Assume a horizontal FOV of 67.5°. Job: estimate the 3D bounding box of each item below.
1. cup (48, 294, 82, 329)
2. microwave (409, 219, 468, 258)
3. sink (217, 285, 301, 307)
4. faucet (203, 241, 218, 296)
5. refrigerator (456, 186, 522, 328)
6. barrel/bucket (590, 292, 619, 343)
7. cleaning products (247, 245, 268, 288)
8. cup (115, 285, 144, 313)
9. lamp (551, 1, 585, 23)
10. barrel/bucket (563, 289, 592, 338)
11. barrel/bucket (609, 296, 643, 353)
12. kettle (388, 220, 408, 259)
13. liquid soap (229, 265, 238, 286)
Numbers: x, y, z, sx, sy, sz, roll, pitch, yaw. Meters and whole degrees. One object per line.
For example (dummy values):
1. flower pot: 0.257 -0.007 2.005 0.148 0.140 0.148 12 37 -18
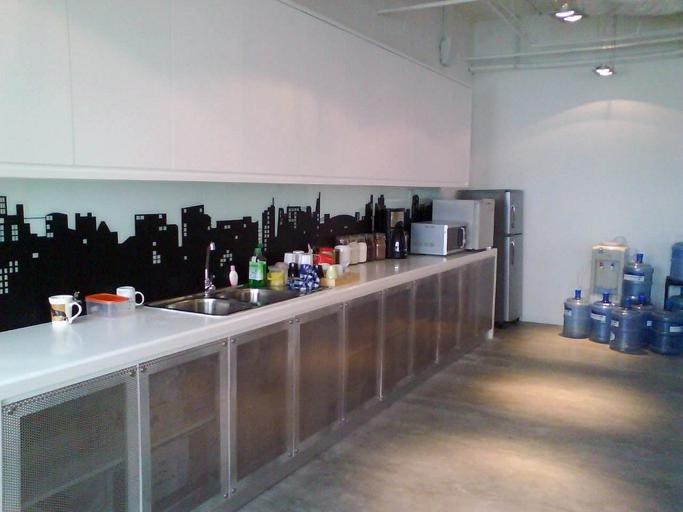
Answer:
1. cup: -1.443 0.264 2.667 0.153 0.153 0.231 -5 11 -27
2. microwave: 1.049 -0.190 5.531 0.421 0.351 0.645 0 5 37
3. sink: -0.620 0.258 3.438 0.217 0.107 0.265 6 5 35
4. faucet: -0.879 0.067 3.393 0.083 0.334 0.238 -2 10 -14
5. refrigerator: 2.024 0.013 6.509 0.835 1.721 0.456 -4 10 -23
6. barrel/bucket: 3.099 0.730 5.906 0.325 0.597 0.348 3 -7 0
7. cleaning products: -0.598 0.058 3.613 0.134 0.291 0.183 -2 10 -10
8. cup: -1.200 0.228 2.907 0.145 0.129 0.090 2 0 -34
9. lamp: 1.670 -1.793 3.779 0.159 0.063 0.203 -12 18 -41
10. barrel/bucket: 2.809 0.678 6.078 0.302 0.549 0.267 5 11 25
11. barrel/bucket: 3.210 0.769 5.635 0.317 0.583 0.328 5 -5 0
12. kettle: 0.563 -0.172 5.054 0.159 0.346 0.240 3 10 15
13. liquid soap: -0.758 0.131 3.561 0.051 0.147 0.106 -2 10 -11
